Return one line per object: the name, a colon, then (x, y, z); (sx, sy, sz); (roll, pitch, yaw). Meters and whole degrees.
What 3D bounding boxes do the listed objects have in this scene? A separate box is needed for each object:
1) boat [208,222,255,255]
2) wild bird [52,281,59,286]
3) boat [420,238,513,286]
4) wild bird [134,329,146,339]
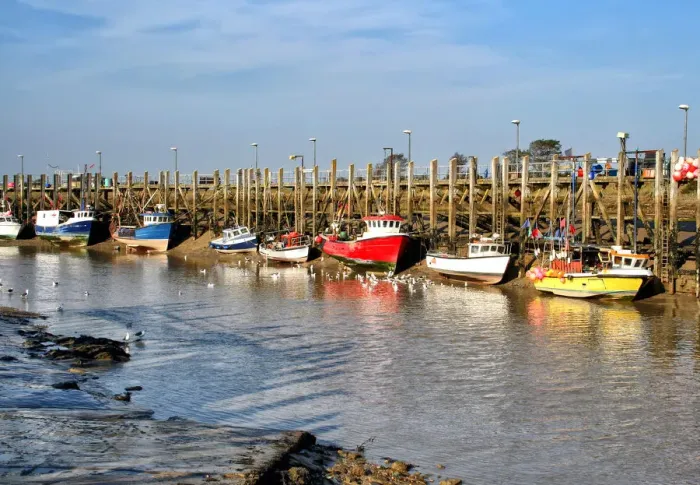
boat: (-8.311, -0.139, 74.400); (1.481, 1.989, 3.456); (1, 1, -43)
wild bird: (-15.589, 2.207, 53.913); (0.385, 0.196, 0.324); (-1, -5, 6)
boat: (6.854, 0.879, 56.425); (2.467, 2.430, 6.888); (5, -1, -29)
wild bird: (-8.334, 3.682, 40.380); (0.401, 0.334, 0.907); (1, 1, -11)
